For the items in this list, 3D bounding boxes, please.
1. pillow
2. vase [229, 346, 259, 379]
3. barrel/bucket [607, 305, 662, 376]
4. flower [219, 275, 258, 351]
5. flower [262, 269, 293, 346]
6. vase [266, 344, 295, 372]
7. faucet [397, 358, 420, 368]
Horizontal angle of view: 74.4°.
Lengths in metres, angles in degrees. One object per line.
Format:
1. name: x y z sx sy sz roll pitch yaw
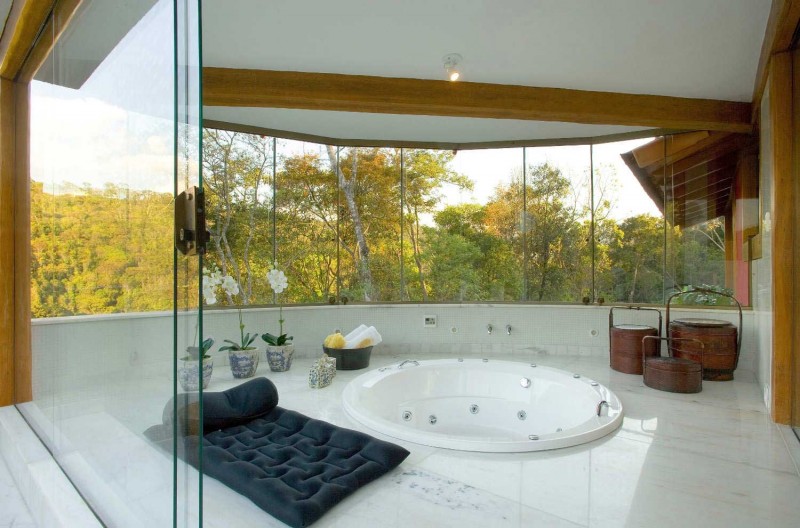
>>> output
1. pillow: -0.959 0.806 2.938 0.583 0.220 0.579 1 -14 -34
2. vase: -1.529 0.964 5.173 0.265 0.229 0.282 1 -7 -3
3. barrel/bucket: 2.379 0.792 5.315 0.587 0.834 0.497 2 1 38
4. flower: -1.660 0.548 5.599 0.515 0.684 0.456 -15 -17 37
5. flower: -1.335 0.458 5.774 0.303 0.821 0.953 1 11 -12
6. vase: -1.243 0.969 5.407 0.257 0.223 0.249 -3 -4 22
7. faucet: 0.081 0.950 5.051 0.209 0.079 0.070 -1 -1 -4
